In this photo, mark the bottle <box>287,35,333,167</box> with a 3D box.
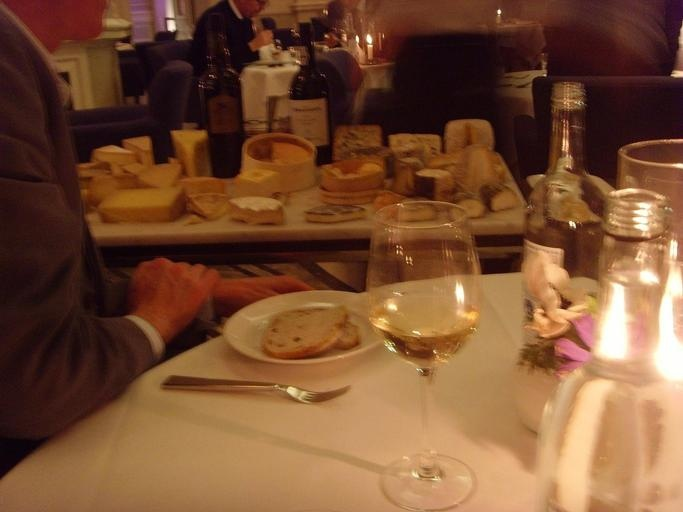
[{"bbox_3d":[-0.099,-0.519,1.814,0.115,0.352,0.146,-2,19,-3],"label":"bottle"}]

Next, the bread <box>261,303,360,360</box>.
[{"bbox_3d":[-0.064,0.100,0.854,0.149,0.078,0.115,-9,13,-43],"label":"bread"}]

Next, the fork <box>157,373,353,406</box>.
[{"bbox_3d":[-0.116,0.186,0.751,0.140,0.016,0.019,4,18,2],"label":"fork"}]

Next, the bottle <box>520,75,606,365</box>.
[{"bbox_3d":[0.311,-0.011,0.768,0.119,0.462,0.135,0,17,2],"label":"bottle"}]

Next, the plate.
[{"bbox_3d":[-0.050,0.123,0.874,0.214,0.108,0.189,9,15,40],"label":"plate"}]

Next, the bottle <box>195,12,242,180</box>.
[{"bbox_3d":[-0.383,-0.546,1.879,0.151,0.523,0.173,-3,20,-8],"label":"bottle"}]
